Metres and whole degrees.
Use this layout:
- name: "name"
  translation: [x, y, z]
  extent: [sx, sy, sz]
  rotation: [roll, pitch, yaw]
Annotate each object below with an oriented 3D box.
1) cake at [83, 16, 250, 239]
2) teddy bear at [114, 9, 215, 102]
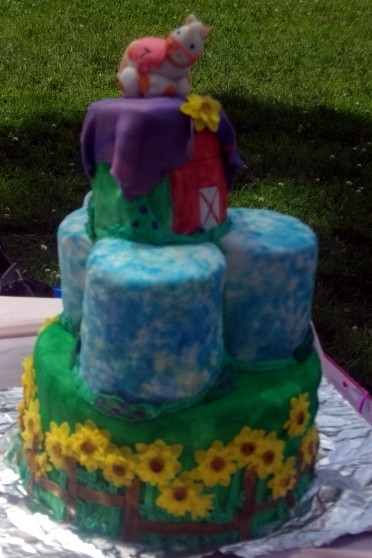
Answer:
- name: "cake"
  translation: [-0.066, -0.573, 2.747]
  extent: [0.645, 0.717, 0.678]
  rotation: [13, 27, 36]
- name: "teddy bear"
  translation: [-0.085, -0.811, 2.624]
  extent: [0.350, 0.291, 0.215]
  rotation: [22, 38, 23]
